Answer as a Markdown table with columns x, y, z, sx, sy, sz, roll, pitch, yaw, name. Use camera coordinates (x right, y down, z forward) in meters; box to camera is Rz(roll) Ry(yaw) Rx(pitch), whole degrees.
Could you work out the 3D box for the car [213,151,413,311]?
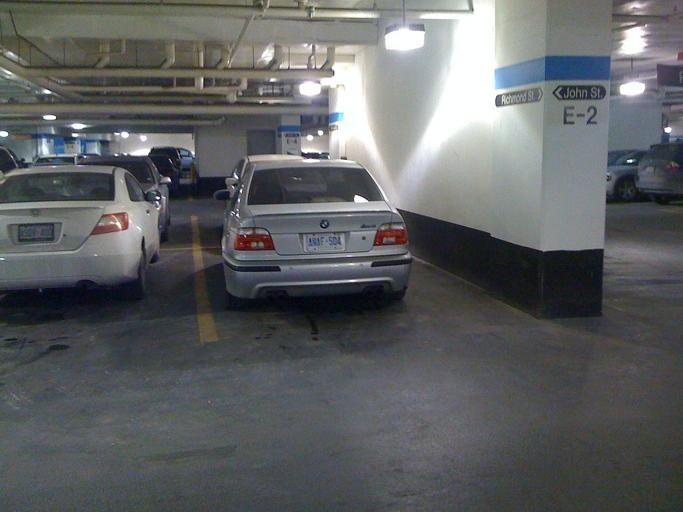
| x | y | z | sx | sy | sz | roll | pitch | yaw | name |
| --- | --- | --- | --- | --- | --- | --- | --- | --- | --- |
| -0.272 | -0.231 | 5.836 | 1.270 | 0.962 | 2.832 | -1 | 17 | -7 | car |
